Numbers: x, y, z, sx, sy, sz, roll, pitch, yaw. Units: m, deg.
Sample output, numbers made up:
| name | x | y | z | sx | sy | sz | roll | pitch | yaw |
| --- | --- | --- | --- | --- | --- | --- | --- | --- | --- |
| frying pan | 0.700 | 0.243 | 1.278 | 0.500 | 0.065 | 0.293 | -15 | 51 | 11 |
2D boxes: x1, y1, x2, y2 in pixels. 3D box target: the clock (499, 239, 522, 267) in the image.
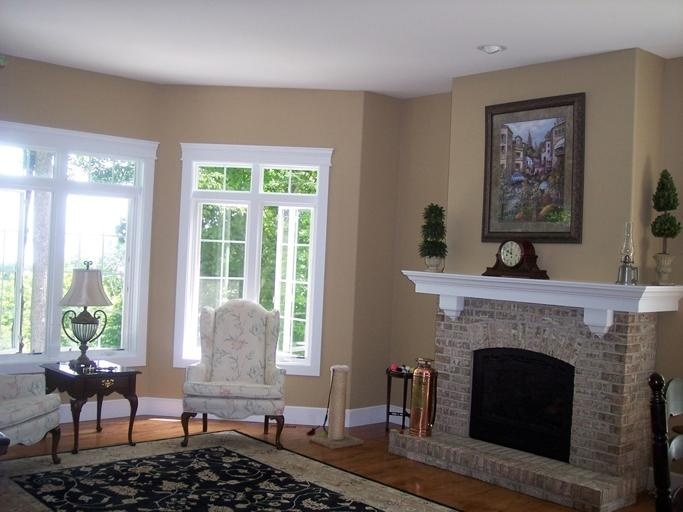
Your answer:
| name | x | y | z | sx | sy | sz | roll | pitch | yaw |
| --- | --- | --- | --- | --- | --- | --- | --- | --- | --- |
| clock | 1.595 | -0.009 | 5.139 | 0.227 | 0.225 | 0.071 | 10 | 2 | 41 |

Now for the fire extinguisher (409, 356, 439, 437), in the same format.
| name | x | y | z | sx | sy | sz | roll | pitch | yaw |
| --- | --- | --- | --- | --- | --- | --- | --- | --- | --- |
| fire extinguisher | 0.872 | 1.430 | 5.586 | 0.315 | 0.562 | 0.212 | 4 | -1 | -14 |

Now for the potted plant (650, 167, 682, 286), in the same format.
| name | x | y | z | sx | sy | sz | roll | pitch | yaw |
| --- | --- | --- | --- | --- | --- | --- | --- | --- | --- |
| potted plant | 2.833 | -0.260 | 4.779 | 0.243 | 1.028 | 0.404 | 3 | -2 | 30 |

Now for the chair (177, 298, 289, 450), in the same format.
| name | x | y | z | sx | sy | sz | roll | pitch | yaw |
| --- | --- | --- | --- | --- | --- | --- | --- | --- | --- |
| chair | -1.050 | 1.151 | 5.491 | 1.183 | 1.299 | 1.168 | -3 | -8 | 41 |

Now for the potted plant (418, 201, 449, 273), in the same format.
| name | x | y | z | sx | sy | sz | roll | pitch | yaw |
| --- | --- | --- | --- | --- | --- | --- | --- | --- | --- |
| potted plant | 1.002 | -0.181 | 5.881 | 0.295 | 0.512 | 0.566 | 3 | -1 | 10 |

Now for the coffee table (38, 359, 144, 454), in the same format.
| name | x | y | z | sx | sy | sz | roll | pitch | yaw |
| --- | --- | --- | --- | --- | --- | --- | --- | --- | --- |
| coffee table | -2.441 | 1.448 | 5.329 | 0.642 | 0.650 | 0.718 | 0 | -7 | 28 |
